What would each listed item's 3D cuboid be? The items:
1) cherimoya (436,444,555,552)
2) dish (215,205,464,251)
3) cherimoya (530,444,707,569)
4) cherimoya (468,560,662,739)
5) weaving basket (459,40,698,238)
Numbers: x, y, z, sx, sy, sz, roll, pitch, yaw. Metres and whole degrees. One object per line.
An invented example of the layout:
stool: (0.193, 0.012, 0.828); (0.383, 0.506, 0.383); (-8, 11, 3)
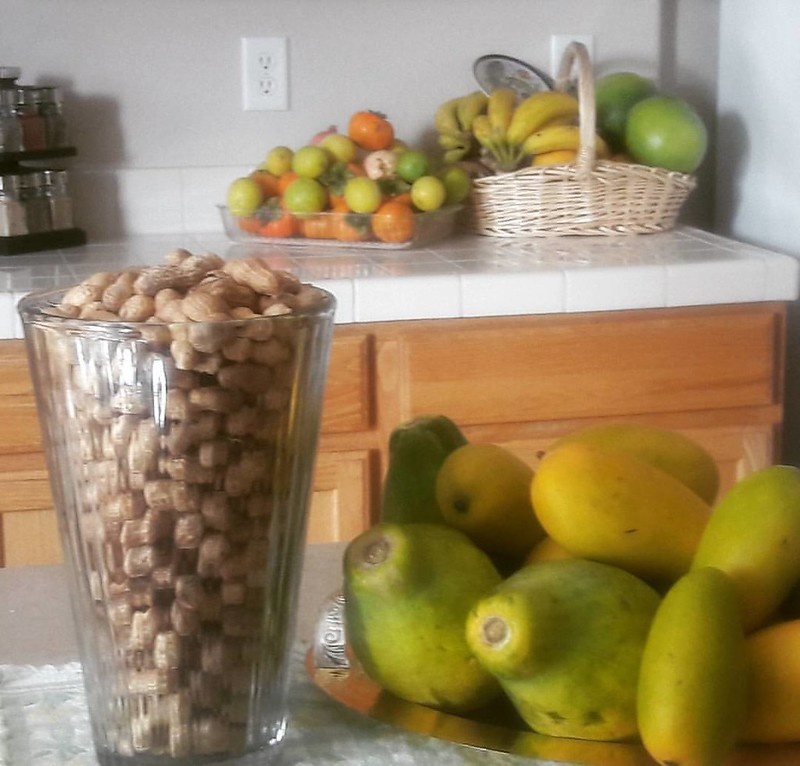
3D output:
cherimoya: (0.043, 0.044, 0.414); (0.045, 0.033, 0.058); (-7, 6, 37)
dish: (-0.100, -0.242, 1.528); (0.291, 0.027, 0.142); (1, 1, -2)
cherimoya: (0.089, 0.051, 0.380); (0.076, 0.031, 0.038); (18, -27, -18)
cherimoya: (0.057, 0.095, 0.330); (0.062, 0.056, 0.044); (3, 21, 13)
weaving basket: (0.221, -0.381, 1.535); (0.479, 0.245, 0.308); (-4, 16, -8)
